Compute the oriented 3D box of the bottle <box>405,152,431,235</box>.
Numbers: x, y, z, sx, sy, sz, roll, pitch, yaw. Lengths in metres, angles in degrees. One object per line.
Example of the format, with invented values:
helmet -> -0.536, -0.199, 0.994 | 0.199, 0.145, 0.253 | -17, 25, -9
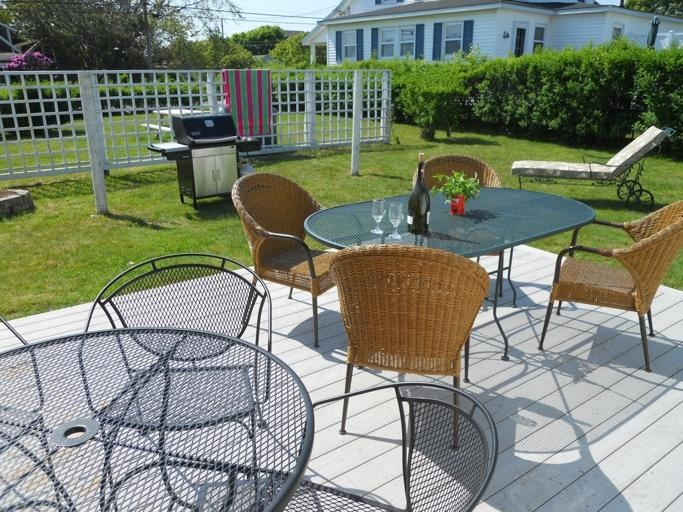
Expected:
bottle -> 0.452, -0.364, 2.931 | 0.132, 0.447, 0.255 | 3, 21, 8
